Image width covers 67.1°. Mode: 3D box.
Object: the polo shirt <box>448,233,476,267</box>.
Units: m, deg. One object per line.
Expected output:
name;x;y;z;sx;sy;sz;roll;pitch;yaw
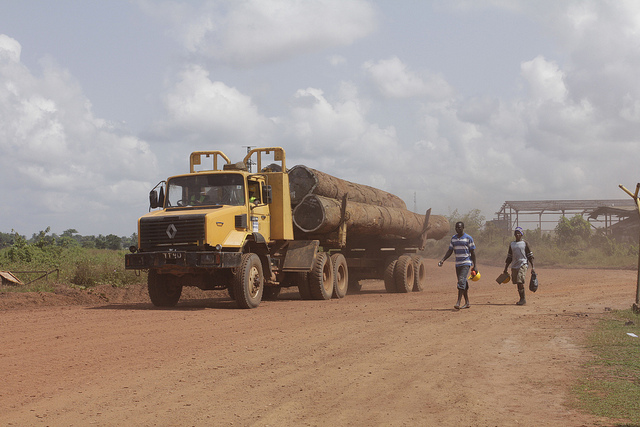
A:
polo shirt;4.291;1.127;14.648;0.680;0.967;0.611;0;1;16

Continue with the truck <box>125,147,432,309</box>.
truck;-1.106;0.745;19.232;4.631;5.508;12.485;-2;-6;29

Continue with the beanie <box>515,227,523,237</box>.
beanie;5.483;0.524;13.358;0.192;0.261;0.156;-6;-14;7
